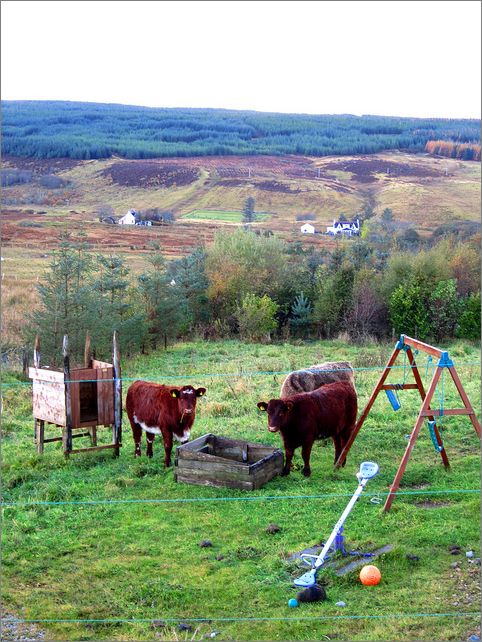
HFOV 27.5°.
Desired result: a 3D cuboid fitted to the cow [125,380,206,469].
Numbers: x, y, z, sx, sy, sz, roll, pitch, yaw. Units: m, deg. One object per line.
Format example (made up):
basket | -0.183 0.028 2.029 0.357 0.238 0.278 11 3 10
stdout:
cow | -1.454 1.772 18.964 1.180 1.814 1.226 -5 13 -30
